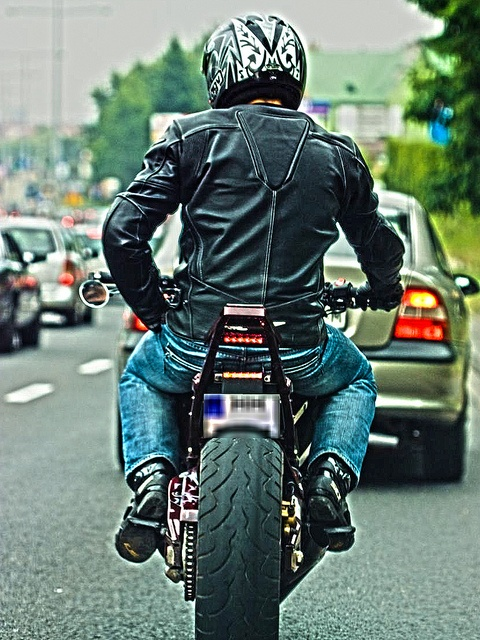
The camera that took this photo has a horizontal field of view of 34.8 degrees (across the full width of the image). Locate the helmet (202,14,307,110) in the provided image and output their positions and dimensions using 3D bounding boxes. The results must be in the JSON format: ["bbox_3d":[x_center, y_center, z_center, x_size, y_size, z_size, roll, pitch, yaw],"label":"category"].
[{"bbox_3d":[0.042,-0.792,2.302,0.269,0.275,0.330,-7,-2,-17],"label":"helmet"}]

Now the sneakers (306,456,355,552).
[{"bbox_3d":[0.256,0.506,2.143,0.104,0.317,0.140,1,51,9],"label":"sneakers"}]

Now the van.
[{"bbox_3d":[-4.598,-1.358,18.786,2.437,2.271,5.276,0,8,0],"label":"van"}]
